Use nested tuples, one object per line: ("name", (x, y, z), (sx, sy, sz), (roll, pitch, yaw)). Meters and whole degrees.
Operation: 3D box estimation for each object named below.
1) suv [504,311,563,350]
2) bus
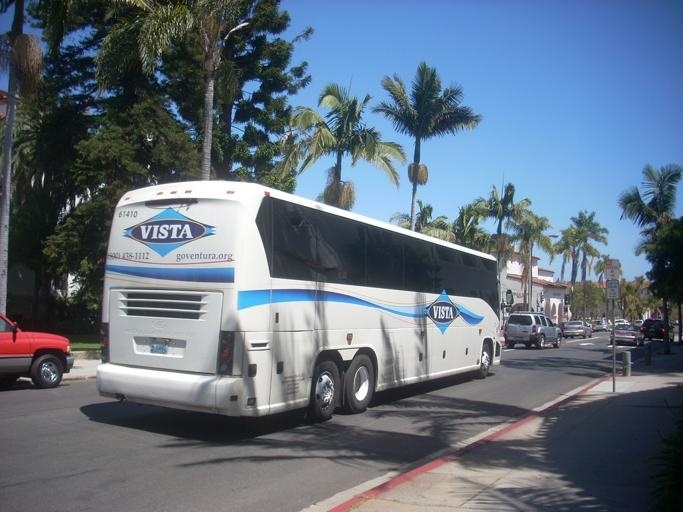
("suv", (13.084, 4.993, 37.039), (2.042, 1.932, 3.897), (-2, -3, 34))
("bus", (0.209, 1.411, 15.968), (3.813, 5.130, 13.734), (-2, -5, 35))
